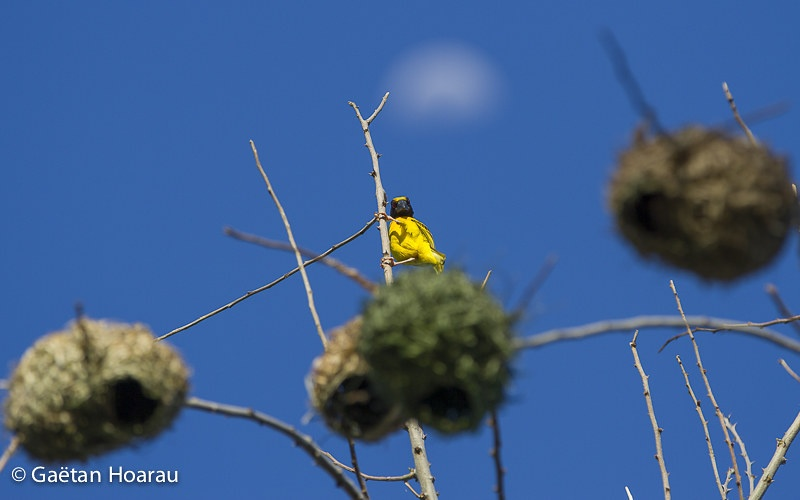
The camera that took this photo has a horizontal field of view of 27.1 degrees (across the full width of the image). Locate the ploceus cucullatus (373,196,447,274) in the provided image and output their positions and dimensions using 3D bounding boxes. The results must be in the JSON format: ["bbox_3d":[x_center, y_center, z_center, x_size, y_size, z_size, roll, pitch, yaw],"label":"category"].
[{"bbox_3d":[0.089,-0.148,12.859,0.617,0.496,0.358,8,2,-21],"label":"ploceus cucullatus"}]
